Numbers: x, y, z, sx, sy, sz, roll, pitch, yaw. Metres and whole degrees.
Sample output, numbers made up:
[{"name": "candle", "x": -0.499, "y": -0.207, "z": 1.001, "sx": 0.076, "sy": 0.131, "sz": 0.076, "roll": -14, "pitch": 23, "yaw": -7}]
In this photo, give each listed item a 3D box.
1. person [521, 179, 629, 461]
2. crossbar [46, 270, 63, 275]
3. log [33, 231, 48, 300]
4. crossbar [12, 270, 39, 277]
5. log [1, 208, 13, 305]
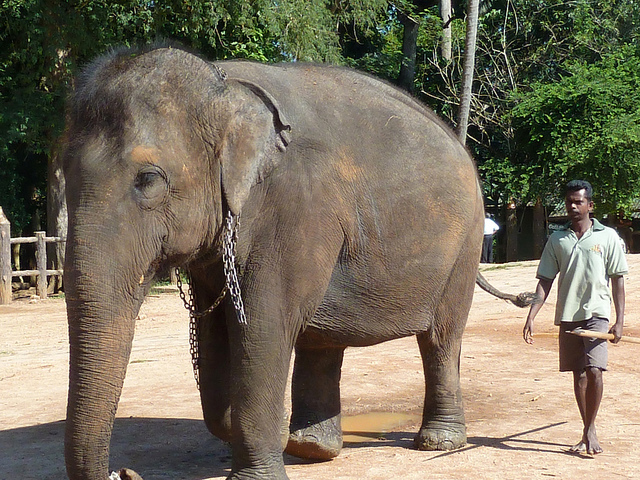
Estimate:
[{"name": "person", "x": 1.841, "y": 0.532, "z": 5.936, "sx": 0.701, "sy": 1.945, "sz": 0.598, "roll": 1, "pitch": 4, "yaw": 17}, {"name": "crossbar", "x": -5.188, "y": 0.622, "z": 15.785, "sx": 0.264, "sy": 0.102, "sz": 0.455, "roll": -2, "pitch": 3, "yaw": -22}, {"name": "log", "x": -5.575, "y": 0.445, "z": 16.170, "sx": 0.226, "sy": 1.306, "sz": 1.568, "roll": -2, "pitch": 4, "yaw": -19}, {"name": "crossbar", "x": -5.666, "y": 0.622, "z": 15.585, "sx": 0.471, "sy": 0.083, "sz": 0.359, "roll": -1, "pitch": 3, "yaw": -18}, {"name": "log", "x": -5.857, "y": 0.329, "z": 15.064, "sx": 0.202, "sy": 1.738, "sz": 0.478, "roll": -2, "pitch": 4, "yaw": -20}]
